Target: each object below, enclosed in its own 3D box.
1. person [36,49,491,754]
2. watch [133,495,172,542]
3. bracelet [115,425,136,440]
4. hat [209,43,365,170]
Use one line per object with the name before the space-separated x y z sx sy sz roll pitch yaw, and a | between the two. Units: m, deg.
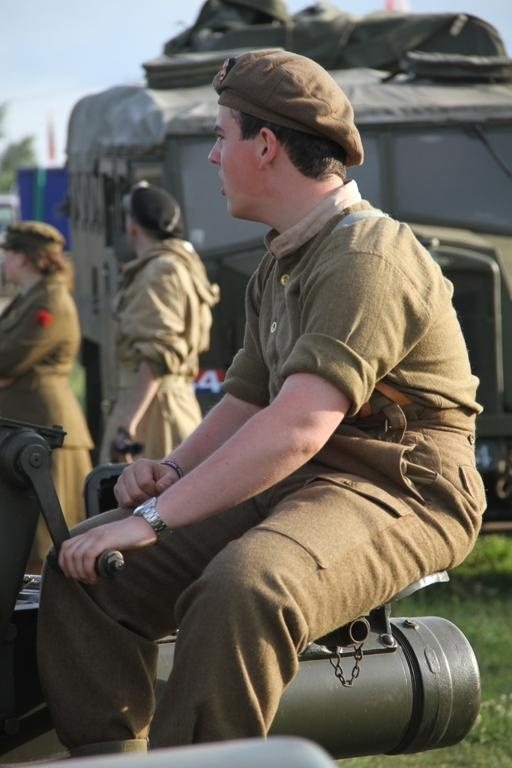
person | 0.005 0.015 2.735 0.638 1.370 0.853 5 9 44
watch | -0.191 0.248 2.532 0.055 0.079 0.079 -32 -24 -4
bracelet | -0.429 0.163 4.502 0.051 0.051 0.031 5 -8 -38
hat | 0.073 -0.573 2.819 0.303 0.167 0.261 24 10 -9
